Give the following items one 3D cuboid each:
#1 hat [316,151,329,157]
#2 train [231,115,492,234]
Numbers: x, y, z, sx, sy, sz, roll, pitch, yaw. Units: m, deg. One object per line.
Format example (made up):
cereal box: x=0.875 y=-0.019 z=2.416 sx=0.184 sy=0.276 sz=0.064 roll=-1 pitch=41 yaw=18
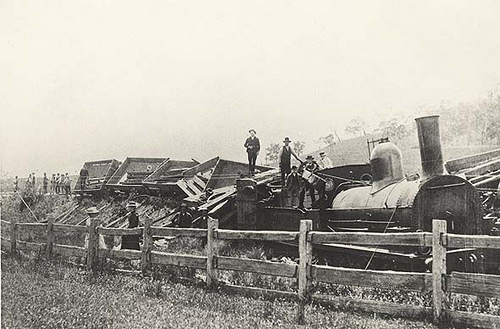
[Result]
hat: x=2.339 y=-0.353 z=12.394 sx=0.393 sy=0.232 sz=0.262 roll=2 pitch=13 yaw=34
train: x=2.677 y=0.679 z=10.526 sx=2.945 sy=2.255 sz=5.430 roll=-2 pitch=-2 yaw=-27
